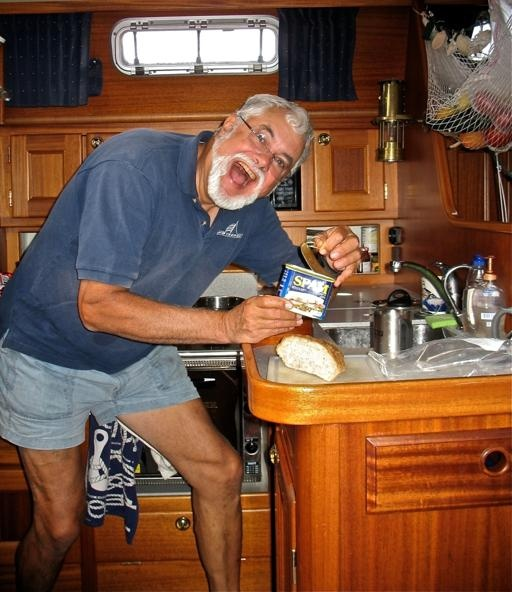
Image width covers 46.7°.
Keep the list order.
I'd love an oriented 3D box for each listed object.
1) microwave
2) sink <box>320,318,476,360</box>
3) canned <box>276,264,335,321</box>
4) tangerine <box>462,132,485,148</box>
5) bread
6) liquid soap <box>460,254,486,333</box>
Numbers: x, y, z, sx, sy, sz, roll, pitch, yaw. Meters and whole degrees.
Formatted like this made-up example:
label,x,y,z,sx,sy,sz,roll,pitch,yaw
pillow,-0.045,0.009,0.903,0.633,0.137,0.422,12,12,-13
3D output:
label,x,y,z,sx,sy,sz,roll,pitch,yaw
microwave,-0.099,0.408,2.286,0.584,0.442,0.529,6,8,3
sink,0.384,0.130,1.819,0.433,0.101,0.428,-2,8,-2
canned,0.101,-0.016,1.305,0.120,0.118,0.115,-1,12,-4
tangerine,0.615,-0.436,1.674,0.045,0.039,0.053,-11,11,-18
bread,0.122,0.125,1.255,0.076,0.073,0.184,-6,7,-31
liquid soap,0.565,-0.012,1.531,0.078,0.209,0.071,-5,15,-25
